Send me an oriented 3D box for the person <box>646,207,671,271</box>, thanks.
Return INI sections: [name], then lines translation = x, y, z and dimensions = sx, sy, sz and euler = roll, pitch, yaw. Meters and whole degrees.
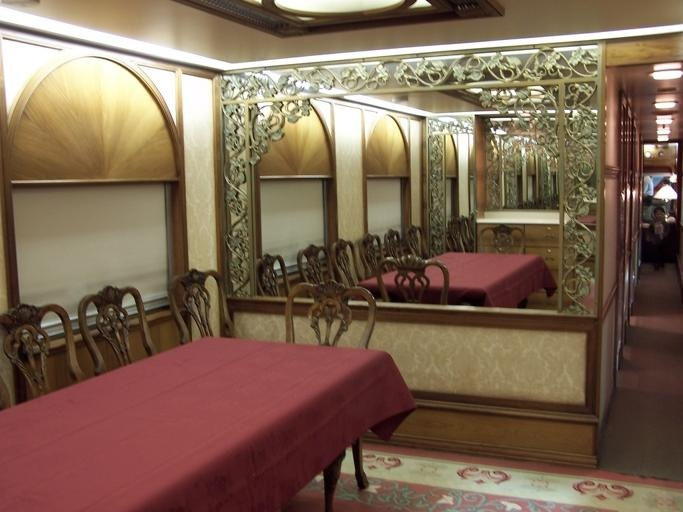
[person]
translation = 7.838, -0.479, 12.177
dimensions = 0.530, 1.409, 1.269
euler = 4, 9, 28
